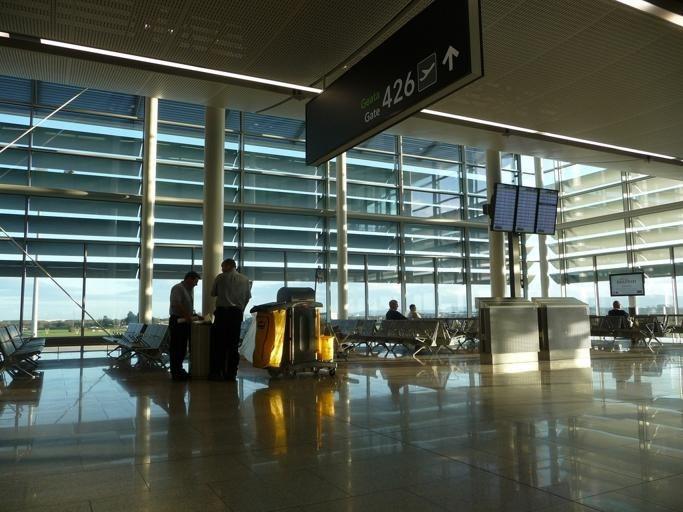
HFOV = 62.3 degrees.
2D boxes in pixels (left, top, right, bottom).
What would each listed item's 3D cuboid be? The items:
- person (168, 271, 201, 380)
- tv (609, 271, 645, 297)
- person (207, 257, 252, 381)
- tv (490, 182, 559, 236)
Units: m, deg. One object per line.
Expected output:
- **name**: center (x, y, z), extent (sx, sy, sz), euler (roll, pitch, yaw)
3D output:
- **person**: center (-2.516, 1.096, 9.030), extent (0.445, 1.703, 0.591), euler (0, -6, -16)
- **tv**: center (10.150, 0.961, 19.846), extent (0.659, 0.800, 1.369), euler (0, -4, -16)
- **person**: center (-1.723, 1.077, 8.723), extent (0.592, 1.657, 0.422), euler (0, -6, -12)
- **tv**: center (3.937, -0.994, 12.141), extent (1.828, 1.054, 0.403), euler (2, -6, -33)
